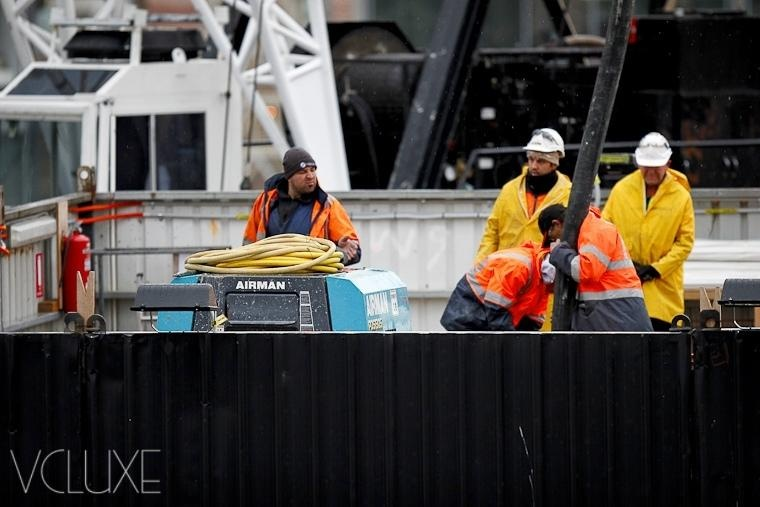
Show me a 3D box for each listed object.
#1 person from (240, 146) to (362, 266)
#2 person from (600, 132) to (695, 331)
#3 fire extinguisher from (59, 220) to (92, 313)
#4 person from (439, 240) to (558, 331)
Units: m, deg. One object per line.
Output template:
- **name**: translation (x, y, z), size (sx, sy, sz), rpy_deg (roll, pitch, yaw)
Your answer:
- **person**: translation (-0.864, -0.495, 21.791), size (1.363, 1.239, 0.432), rpy_deg (-1, 2, 24)
- **person**: translation (2.914, -0.218, 22.171), size (0.918, 2.105, 0.879), rpy_deg (2, -1, 3)
- **fire extinguisher**: translation (-3.488, 0.165, 23.288), size (0.356, 1.313, 0.316), rpy_deg (1, -5, 3)
- **person**: translation (1.221, 0.351, 21.349), size (0.836, 0.965, 1.004), rpy_deg (-4, -2, 35)
